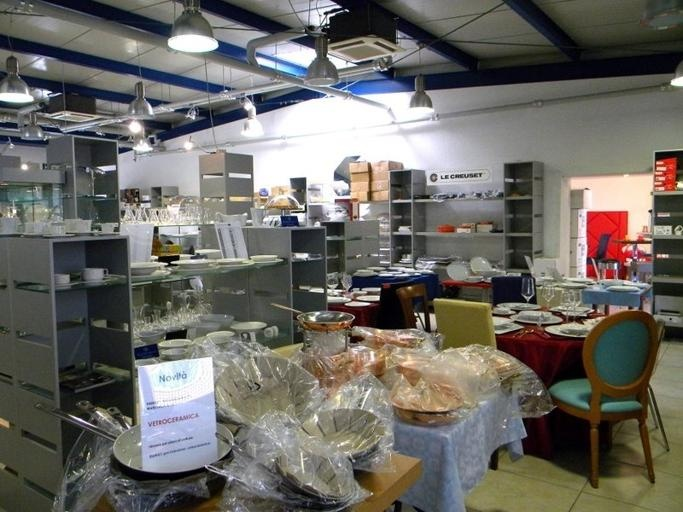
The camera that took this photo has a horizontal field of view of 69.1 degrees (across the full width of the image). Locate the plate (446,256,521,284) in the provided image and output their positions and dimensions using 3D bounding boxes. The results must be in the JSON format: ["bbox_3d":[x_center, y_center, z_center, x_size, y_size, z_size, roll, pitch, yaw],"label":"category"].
[{"bbox_3d":[1.902,0.205,6.883,0.747,0.206,0.571,-1,1,-41],"label":"plate"}]

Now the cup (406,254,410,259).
[{"bbox_3d":[1.207,-0.005,9.004,0.073,0.073,0.070,0,11,0],"label":"cup"}]

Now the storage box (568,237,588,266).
[{"bbox_3d":[4.053,-0.090,8.564,0.167,0.428,0.532,-2,-3,42],"label":"storage box"}]

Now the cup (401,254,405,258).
[{"bbox_3d":[1.125,-0.002,9.103,0.061,0.066,0.061,1,11,0],"label":"cup"}]

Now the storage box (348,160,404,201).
[{"bbox_3d":[0.687,-1.306,9.262,1.310,0.895,0.698,3,7,30],"label":"storage box"}]

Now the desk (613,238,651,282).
[{"bbox_3d":[5.538,0.171,9.378,0.387,0.504,0.537,23,5,-6],"label":"desk"}]

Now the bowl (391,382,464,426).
[{"bbox_3d":[0.338,0.588,2.038,0.291,0.117,0.253,2,2,-40],"label":"bowl"}]

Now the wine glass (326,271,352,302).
[{"bbox_3d":[-0.018,0.329,5.383,0.277,0.289,0.265,-3,7,-15],"label":"wine glass"}]

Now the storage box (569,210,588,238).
[{"bbox_3d":[4.047,-0.562,8.542,0.320,0.544,0.598,-1,1,27],"label":"storage box"}]

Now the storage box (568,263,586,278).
[{"bbox_3d":[4.044,0.241,8.577,0.082,0.221,0.259,-4,-1,43],"label":"storage box"}]

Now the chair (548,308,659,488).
[{"bbox_3d":[1.762,0.893,3.292,0.682,1.174,0.389,2,12,-7],"label":"chair"}]

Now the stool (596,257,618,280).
[{"bbox_3d":[5.218,0.232,9.785,0.390,0.425,0.405,6,13,38],"label":"stool"}]

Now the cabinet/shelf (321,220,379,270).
[{"bbox_3d":[0.182,-0.114,6.781,0.297,0.677,0.867,1,6,34],"label":"cabinet/shelf"}]

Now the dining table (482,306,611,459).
[{"bbox_3d":[1.499,0.977,3.844,0.910,0.814,0.847,0,4,35],"label":"dining table"}]

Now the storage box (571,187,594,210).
[{"bbox_3d":[4.142,-0.962,8.571,0.362,0.451,0.655,0,3,27],"label":"storage box"}]
